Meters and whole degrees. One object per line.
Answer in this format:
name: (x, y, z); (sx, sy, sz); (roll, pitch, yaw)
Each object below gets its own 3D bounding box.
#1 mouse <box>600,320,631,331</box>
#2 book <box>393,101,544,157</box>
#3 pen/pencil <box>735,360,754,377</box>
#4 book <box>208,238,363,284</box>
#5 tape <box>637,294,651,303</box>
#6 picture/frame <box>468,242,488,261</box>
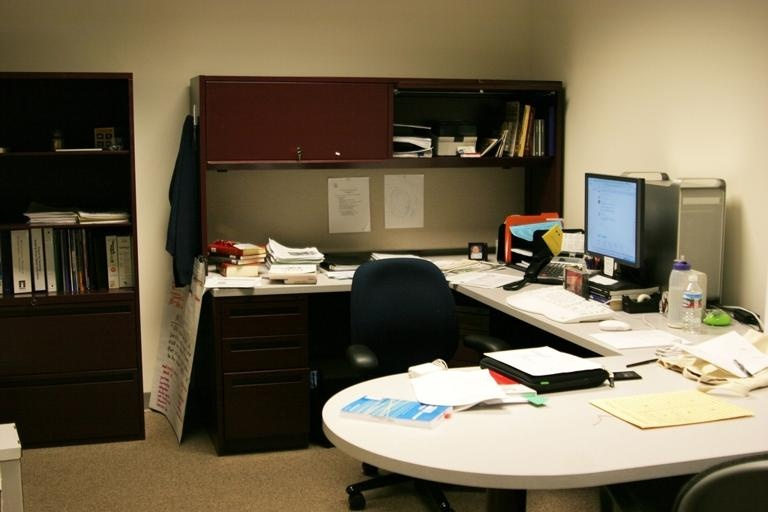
mouse: (1.099, 0.326, 2.964); (0.090, 0.027, 0.066); (-3, 5, -13)
book: (0.569, -0.886, 4.357); (1.103, 0.389, 0.319); (-3, 10, -10)
pen/pencil: (1.442, 0.448, 2.480); (0.020, 0.015, 0.074); (-2, 28, -4)
book: (-0.672, 0.039, 3.838); (0.574, 0.161, 0.428); (0, 7, -22)
tape: (1.330, 0.213, 3.183); (0.048, 0.013, 0.048); (-9, 2, 6)
picture/frame: (0.653, -0.034, 4.346); (0.165, 0.149, 0.111); (0, 0, -6)
